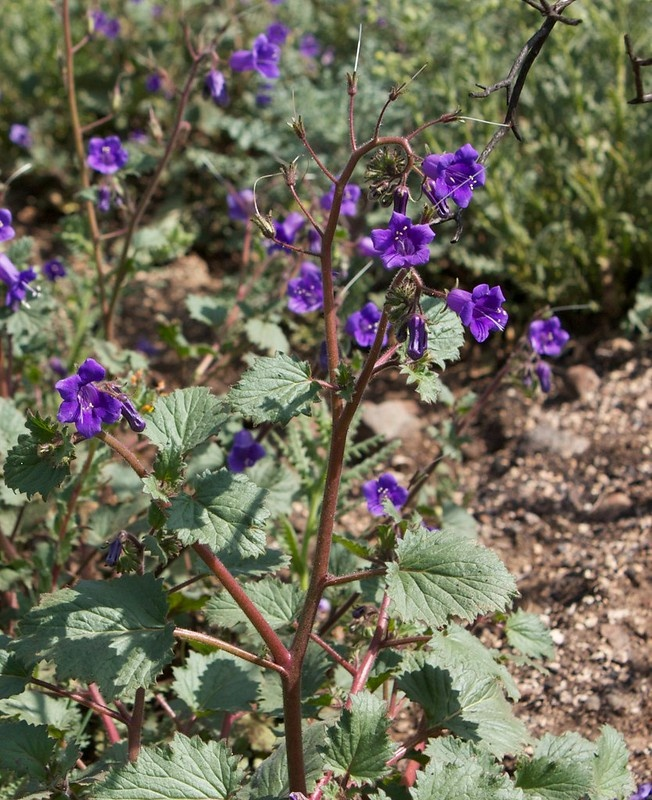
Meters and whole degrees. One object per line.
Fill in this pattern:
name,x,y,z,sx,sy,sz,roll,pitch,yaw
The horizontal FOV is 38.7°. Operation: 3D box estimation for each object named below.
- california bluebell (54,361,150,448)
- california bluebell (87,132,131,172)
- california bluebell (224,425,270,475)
california bluebell,-0.531,-0.002,2.183,0.137,0.179,0.251,-1,-3,13
california bluebell,-0.765,-0.844,3.238,0.134,0.144,0.149,0,-3,-21
california bluebell,-0.311,0.195,3.598,0.138,0.164,0.302,0,-3,-6
